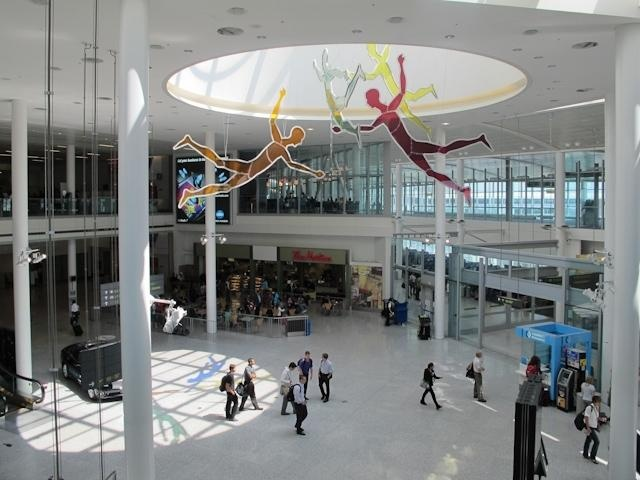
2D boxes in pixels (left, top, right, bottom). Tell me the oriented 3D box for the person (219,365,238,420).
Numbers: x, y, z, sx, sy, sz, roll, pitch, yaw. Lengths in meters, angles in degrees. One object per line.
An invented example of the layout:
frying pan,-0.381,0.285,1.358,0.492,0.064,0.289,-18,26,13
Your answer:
person,-2.690,4.433,14.921,0.459,1.467,1.284,-1,7,-8

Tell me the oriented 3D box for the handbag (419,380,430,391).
handbag,3.188,4.440,15.269,0.306,0.329,0.215,3,4,35

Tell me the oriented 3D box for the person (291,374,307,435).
person,-0.609,4.574,13.989,0.439,1.327,1.028,-1,7,-4

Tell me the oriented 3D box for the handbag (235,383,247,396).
handbag,-2.335,4.434,14.801,0.269,0.521,0.458,1,-2,-2

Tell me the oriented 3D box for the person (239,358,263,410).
person,-2.129,4.346,15.260,0.652,1.692,0.900,-1,7,-10

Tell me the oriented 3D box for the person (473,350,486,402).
person,4.971,4.249,15.731,0.426,1.564,0.607,2,7,18

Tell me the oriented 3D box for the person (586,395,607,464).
person,6.740,4.651,12.495,0.364,1.626,0.726,4,8,31

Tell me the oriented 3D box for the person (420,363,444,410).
person,3.498,4.376,15.921,0.621,1.425,2.040,1,7,13
